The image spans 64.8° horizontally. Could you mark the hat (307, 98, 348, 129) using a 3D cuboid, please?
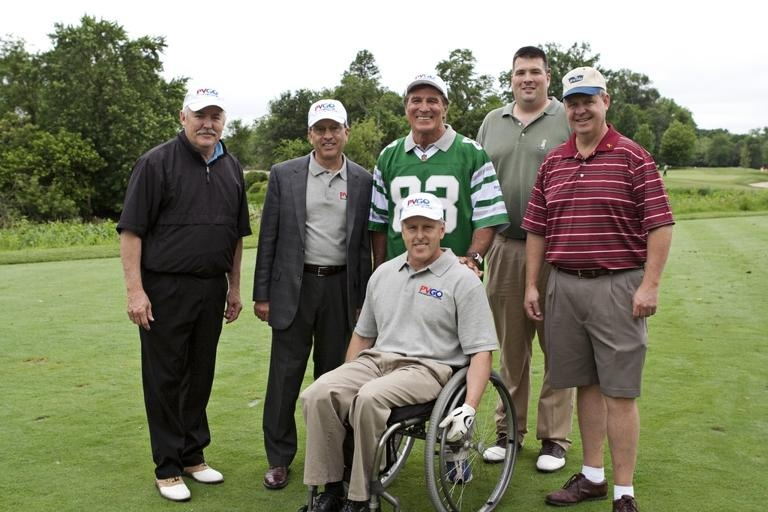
[{"bbox_3d":[-0.493,-1.237,5.236,0.325,0.288,0.495,-1,5,-7],"label":"hat"}]

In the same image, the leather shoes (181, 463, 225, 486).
[{"bbox_3d":[-1.484,1.790,4.989,0.332,0.127,0.144,2,1,29],"label":"leather shoes"}]

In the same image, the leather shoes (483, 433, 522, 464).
[{"bbox_3d":[1.039,1.672,5.317,0.220,0.253,0.659,-6,-11,30],"label":"leather shoes"}]

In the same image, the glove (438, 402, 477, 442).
[{"bbox_3d":[0.523,1.161,4.273,0.268,0.204,0.073,-39,0,-14],"label":"glove"}]

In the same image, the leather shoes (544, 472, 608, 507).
[{"bbox_3d":[1.498,1.839,4.800,0.497,0.195,0.193,0,-13,-16],"label":"leather shoes"}]

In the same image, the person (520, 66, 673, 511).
[{"bbox_3d":[1.594,0.232,4.634,1.056,3.351,0.631,2,7,24],"label":"person"}]

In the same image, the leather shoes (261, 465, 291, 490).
[{"bbox_3d":[-0.887,1.800,4.940,0.193,0.137,0.156,-1,5,0],"label":"leather shoes"}]

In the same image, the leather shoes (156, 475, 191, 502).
[{"bbox_3d":[-1.651,1.834,4.797,0.129,0.123,0.316,5,-6,-36],"label":"leather shoes"}]

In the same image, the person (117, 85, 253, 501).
[{"bbox_3d":[-1.609,0.260,4.984,1.010,3.219,0.617,-3,7,-23],"label":"person"}]

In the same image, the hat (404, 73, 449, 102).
[{"bbox_3d":[0.343,-1.410,5.030,0.314,0.219,0.361,3,6,33],"label":"hat"}]
